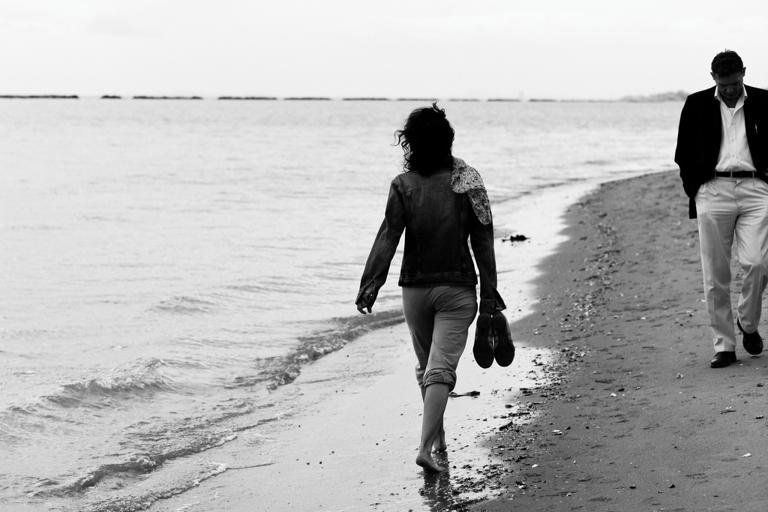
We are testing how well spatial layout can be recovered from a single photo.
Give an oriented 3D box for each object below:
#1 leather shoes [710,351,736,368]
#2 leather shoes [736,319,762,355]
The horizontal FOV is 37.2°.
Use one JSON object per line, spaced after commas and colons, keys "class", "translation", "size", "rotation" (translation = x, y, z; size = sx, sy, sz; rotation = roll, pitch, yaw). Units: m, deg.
{"class": "leather shoes", "translation": [4.089, 1.248, 13.822], "size": [0.434, 0.130, 0.136], "rotation": [-1, 8, -7]}
{"class": "leather shoes", "translation": [4.467, 0.986, 13.904], "size": [0.225, 0.498, 0.238], "rotation": [-26, 10, 23]}
